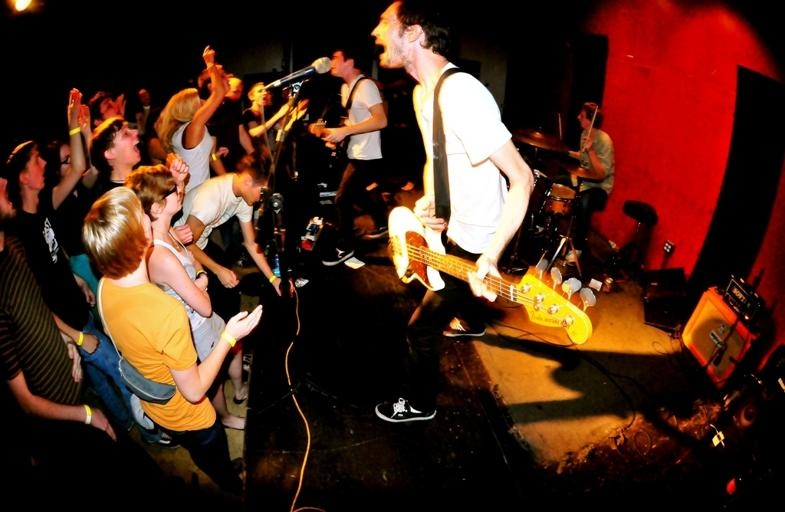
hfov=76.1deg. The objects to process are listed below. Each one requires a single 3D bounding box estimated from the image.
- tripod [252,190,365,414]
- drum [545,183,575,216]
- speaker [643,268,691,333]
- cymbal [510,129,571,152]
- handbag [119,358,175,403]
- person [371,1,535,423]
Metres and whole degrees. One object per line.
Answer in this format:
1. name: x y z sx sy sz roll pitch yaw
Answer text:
1. tripod: -1.031 0.616 6.130 0.482 2.931 1.177 1 33 19
2. drum: 2.250 -0.789 6.889 0.394 0.355 0.397 0 38 -22
3. speaker: 3.588 0.577 6.588 0.582 0.814 0.191 4 -7 29
4. cymbal: 2.194 -1.678 7.509 0.553 0.133 0.566 10 39 0
5. handbag: -2.062 1.074 4.165 0.333 0.435 0.158 -23 30 48
6. person: 0.519 -0.230 4.671 1.472 3.941 0.866 14 20 33
